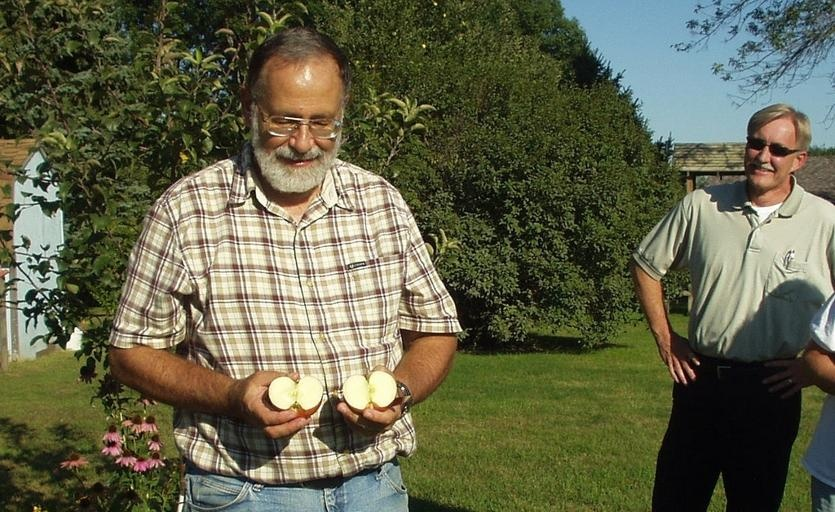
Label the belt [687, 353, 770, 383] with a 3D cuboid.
[{"bbox_3d":[2.554,0.933,6.184,0.530,0.187,0.058,2,4,25],"label":"belt"}]

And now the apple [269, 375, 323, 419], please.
[{"bbox_3d":[-0.726,0.852,4.559,0.338,0.232,0.089,-3,-9,-39],"label":"apple"}]

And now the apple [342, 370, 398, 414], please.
[{"bbox_3d":[-0.289,0.823,4.627,0.336,0.227,0.106,0,4,-7],"label":"apple"}]

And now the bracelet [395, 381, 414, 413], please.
[{"bbox_3d":[-0.085,0.879,4.724,0.132,0.175,0.107,-9,1,-41],"label":"bracelet"}]
